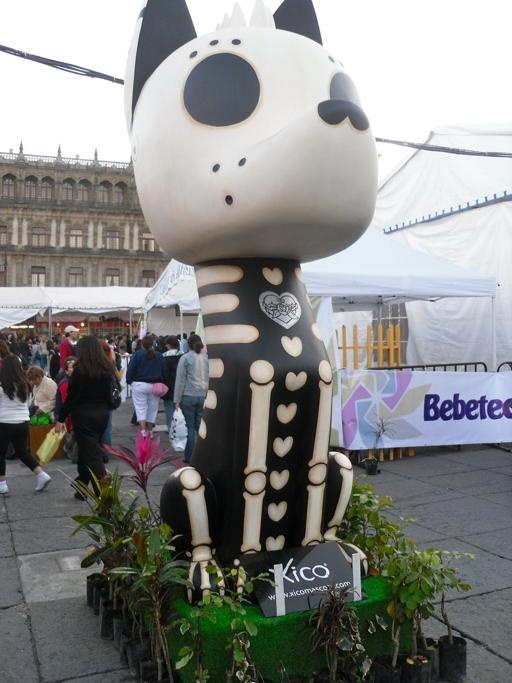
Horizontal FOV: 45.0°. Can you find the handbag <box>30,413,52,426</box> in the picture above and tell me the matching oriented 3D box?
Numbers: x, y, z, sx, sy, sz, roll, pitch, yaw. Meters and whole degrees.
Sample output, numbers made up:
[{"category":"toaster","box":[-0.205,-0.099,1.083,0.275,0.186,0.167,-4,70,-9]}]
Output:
[{"category":"handbag","box":[-2.616,0.947,7.530,0.192,0.071,0.152,16,25,10]}]

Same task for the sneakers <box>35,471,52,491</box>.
[{"category":"sneakers","box":[-2.076,1.373,6.052,0.073,0.138,0.201,-15,-31,-47]}]

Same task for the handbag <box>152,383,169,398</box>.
[{"category":"handbag","box":[-1.284,0.661,8.398,0.207,0.147,0.113,-17,-35,-20]}]

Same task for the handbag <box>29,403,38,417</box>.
[{"category":"handbag","box":[-2.807,0.874,7.842,0.127,0.164,0.055,-1,9,-3]}]

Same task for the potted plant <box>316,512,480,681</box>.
[{"category":"potted plant","box":[0.589,1.093,2.602,0.670,0.642,0.410,4,-16,-24]}]
